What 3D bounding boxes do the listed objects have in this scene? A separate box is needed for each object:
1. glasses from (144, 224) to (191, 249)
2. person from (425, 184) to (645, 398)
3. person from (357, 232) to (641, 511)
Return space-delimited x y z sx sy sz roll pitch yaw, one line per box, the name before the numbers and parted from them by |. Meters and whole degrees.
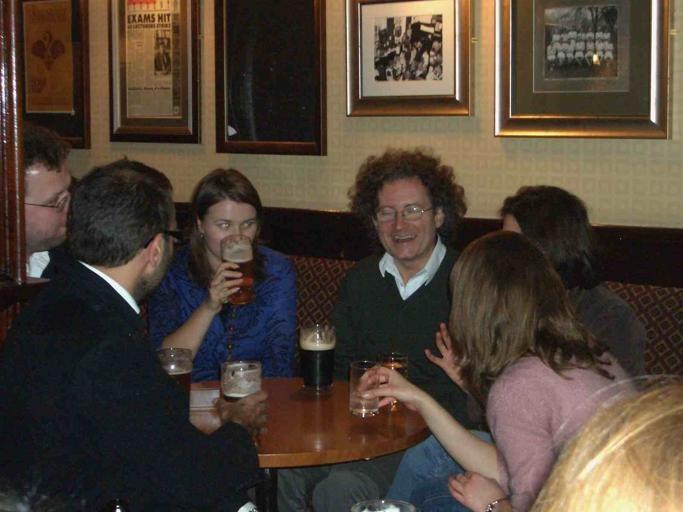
glasses | -0.546 -0.059 2.066 0.087 0.030 0.088 -14 13 -11
person | 0.826 0.105 3.037 0.741 1.191 0.693 5 2 9
person | 0.610 0.222 2.292 0.797 1.190 0.609 10 18 36
